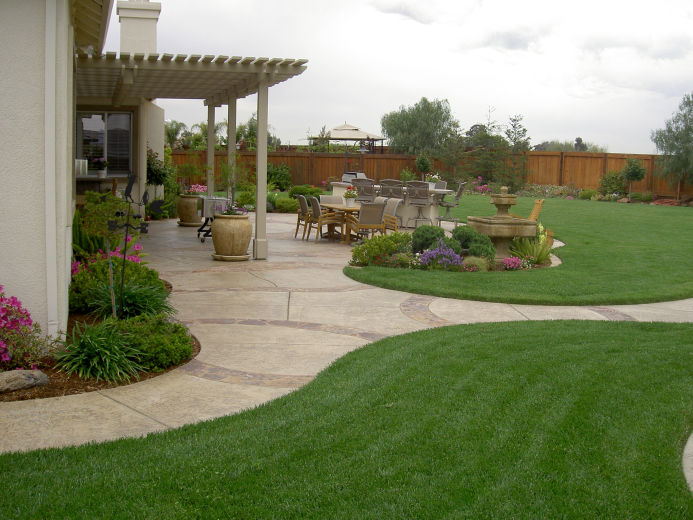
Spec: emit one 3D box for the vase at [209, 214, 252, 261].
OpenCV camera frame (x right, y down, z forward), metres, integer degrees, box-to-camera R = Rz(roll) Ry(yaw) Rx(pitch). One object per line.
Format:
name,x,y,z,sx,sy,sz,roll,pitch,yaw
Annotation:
vase,-2.359,-0.585,11.269,0.837,0.961,0.872,1,2,-6

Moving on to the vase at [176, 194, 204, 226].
vase,-4.915,-1.764,17.155,0.777,0.997,0.855,2,9,8
